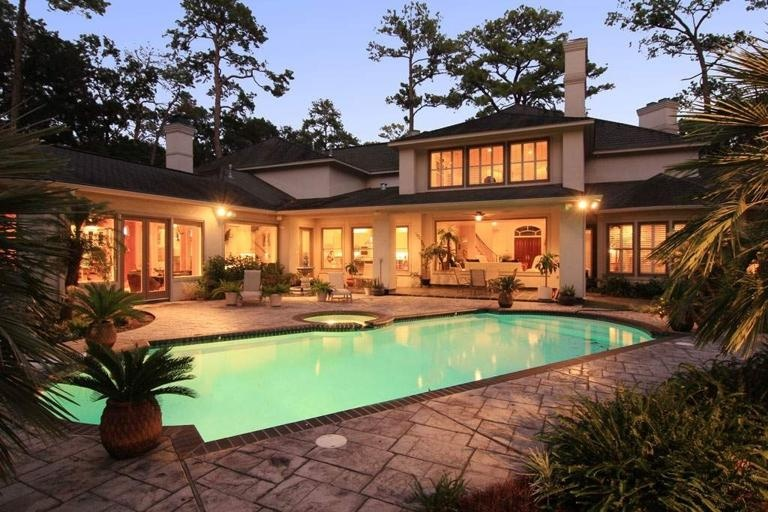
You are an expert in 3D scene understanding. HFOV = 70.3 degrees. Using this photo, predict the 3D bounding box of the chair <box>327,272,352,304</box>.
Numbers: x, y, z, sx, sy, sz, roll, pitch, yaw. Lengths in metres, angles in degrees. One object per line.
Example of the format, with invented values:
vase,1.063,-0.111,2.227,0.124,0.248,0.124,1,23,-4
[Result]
chair,-1.389,1.048,17.750,0.623,0.806,1.101,0,-2,-13

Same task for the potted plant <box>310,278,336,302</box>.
potted plant,-2.000,1.133,17.755,0.727,0.650,0.717,0,-1,9

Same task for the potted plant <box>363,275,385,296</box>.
potted plant,-0.340,1.178,20.189,0.668,0.470,0.681,0,-5,-2

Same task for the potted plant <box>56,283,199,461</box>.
potted plant,-4.226,1.916,8.888,2.092,2.359,2.068,3,-8,-12

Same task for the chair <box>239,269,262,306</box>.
chair,-4.068,1.044,16.906,0.859,1.059,0.905,-2,3,-22

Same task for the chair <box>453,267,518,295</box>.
chair,3.274,0.919,18.424,1.097,0.831,1.882,1,3,21

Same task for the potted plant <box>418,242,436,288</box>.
potted plant,1.716,0.398,22.018,0.569,1.830,1.037,-1,8,5

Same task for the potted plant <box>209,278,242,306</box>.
potted plant,-4.820,1.152,16.928,0.904,0.655,0.904,-3,-3,26

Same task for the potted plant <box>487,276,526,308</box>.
potted plant,3.714,1.089,16.761,1.035,0.994,0.922,6,-5,-33

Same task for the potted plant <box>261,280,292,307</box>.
potted plant,-3.475,1.194,17.073,0.819,0.742,0.806,-3,-4,18
